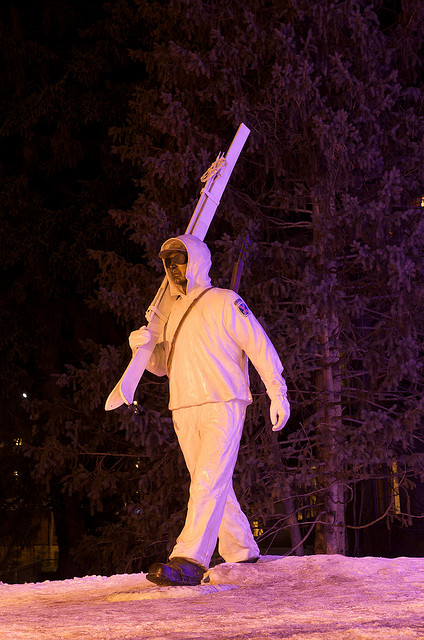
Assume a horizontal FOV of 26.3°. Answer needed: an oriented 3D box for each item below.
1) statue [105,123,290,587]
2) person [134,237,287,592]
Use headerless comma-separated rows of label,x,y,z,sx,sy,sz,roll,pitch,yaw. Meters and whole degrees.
statue,-0.123,0.511,5.831,0.805,2.224,1.043,7,-11,-40
person,-0.039,0.518,5.849,0.784,2.202,0.888,3,-9,-22
